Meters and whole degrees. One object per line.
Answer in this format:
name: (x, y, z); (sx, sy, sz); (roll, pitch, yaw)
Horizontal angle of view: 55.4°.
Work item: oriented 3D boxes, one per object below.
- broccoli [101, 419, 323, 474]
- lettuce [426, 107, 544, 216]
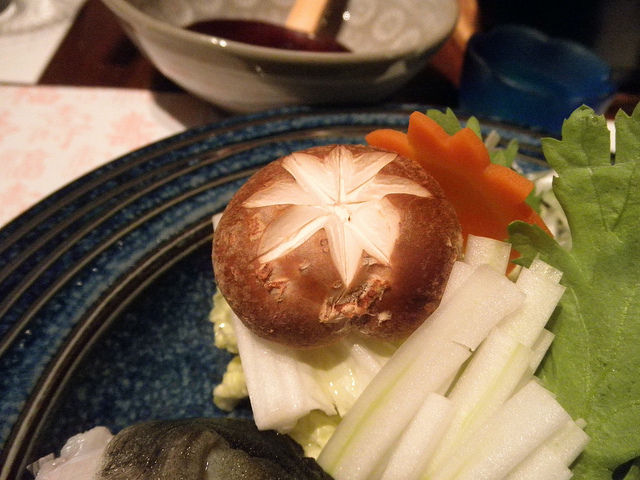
broccoli: (-0.482, 0.791, 2.314); (0.415, 0.398, 0.105); (-5, 73, 38)
lettuce: (0.719, -0.362, 2.999); (0.539, 0.143, 0.526); (36, 46, -21)
